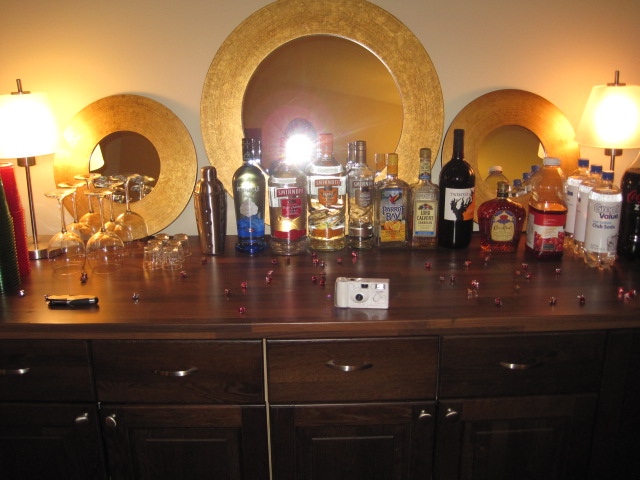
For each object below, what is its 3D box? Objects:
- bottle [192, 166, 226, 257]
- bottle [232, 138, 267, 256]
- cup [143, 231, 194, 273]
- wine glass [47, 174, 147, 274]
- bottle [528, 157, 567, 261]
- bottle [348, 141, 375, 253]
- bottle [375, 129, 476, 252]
[{"bbox_3d":[-0.378,-0.097,1.880,0.098,0.304,0.099,-1,6,0],"label":"bottle"},{"bbox_3d":[-0.246,-0.107,1.886,0.103,0.313,0.079,-1,6,-5],"label":"bottle"},{"bbox_3d":[-0.520,0.015,1.813,0.112,0.058,0.195,2,13,0],"label":"cup"},{"bbox_3d":[-0.730,-0.057,1.896,0.365,0.271,0.324,-4,14,-30],"label":"wine glass"},{"bbox_3d":[0.767,-0.110,1.852,0.121,0.330,0.187,2,7,22],"label":"bottle"},{"bbox_3d":[0.143,-0.156,1.937,0.093,0.367,0.179,-1,6,3],"label":"bottle"},{"bbox_3d":[0.426,-0.168,1.873,0.197,0.406,0.128,-4,7,-25],"label":"bottle"}]
